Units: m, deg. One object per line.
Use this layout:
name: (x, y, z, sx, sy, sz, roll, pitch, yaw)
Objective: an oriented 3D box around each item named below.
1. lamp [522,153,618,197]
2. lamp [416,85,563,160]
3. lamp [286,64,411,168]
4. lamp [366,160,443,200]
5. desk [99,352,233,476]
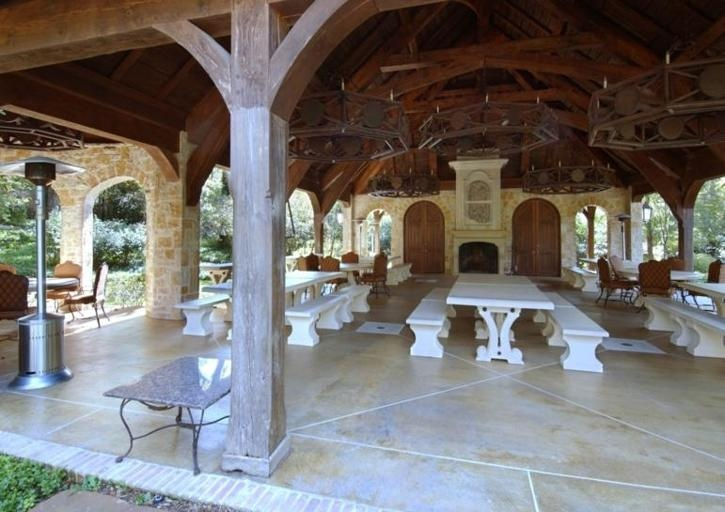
lamp: (5.416, -2.024, 12.498, 2.159, 0.724, 2.090, -3, 4, -39)
lamp: (2.192, -2.354, 8.403, 2.114, 0.939, 2.032, -1, 1, -4)
lamp: (-0.165, -2.276, 7.605, 1.939, 1.281, 1.563, -1, 1, -5)
lamp: (1.173, -1.993, 12.850, 1.974, 0.811, 1.956, -3, 6, -32)
desk: (-1.769, 1.525, 4.706, 1.080, 0.579, 1.012, -1, 1, 1)
